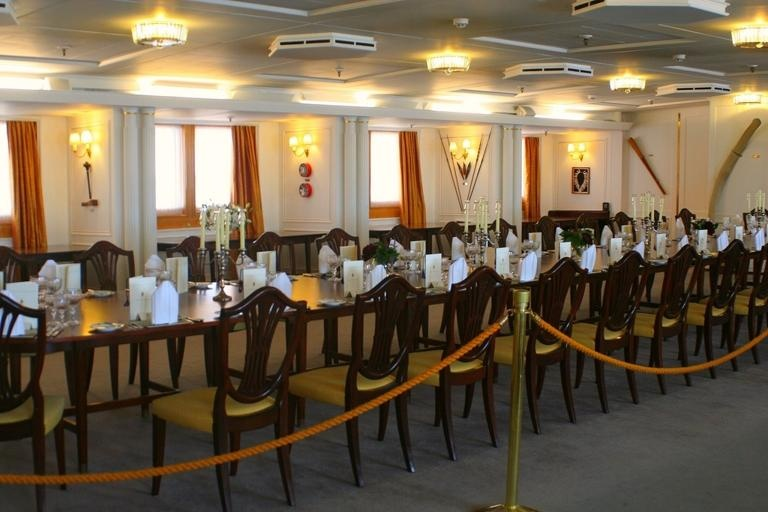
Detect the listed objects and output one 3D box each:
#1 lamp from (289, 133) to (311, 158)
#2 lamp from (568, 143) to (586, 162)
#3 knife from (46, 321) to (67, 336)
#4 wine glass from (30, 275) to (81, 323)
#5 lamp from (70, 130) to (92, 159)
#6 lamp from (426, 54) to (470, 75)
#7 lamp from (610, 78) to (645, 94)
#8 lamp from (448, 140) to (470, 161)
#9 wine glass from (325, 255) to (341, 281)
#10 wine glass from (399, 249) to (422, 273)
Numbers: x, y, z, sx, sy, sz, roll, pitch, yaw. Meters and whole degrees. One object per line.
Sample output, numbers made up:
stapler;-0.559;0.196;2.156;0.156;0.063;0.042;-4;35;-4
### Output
lamp;-1.657;-2.231;11.171;0.470;0.385;0.233;11;25;42
lamp;5.093;-2.738;14.703;0.439;0.489;0.268;-1;7;21
knife;-2.044;0.441;3.476;0.068;0.059;0.242;3;4;-16
wine glass;-2.199;0.312;3.795;0.310;0.135;0.370;-3;9;-32
lamp;-5.179;-1.910;9.547;0.201;0.500;0.738;-10;9;-44
lamp;0.887;-2.688;7.786;0.343;0.137;0.339;-3;9;-20
lamp;4.127;-2.918;9.479;0.437;0.209;0.459;2;9;20
lamp;1.792;-2.493;13.086;0.459;0.421;0.241;6;27;37
wine glass;-0.456;0.096;5.262;0.203;0.274;0.202;1;-1;-5
wine glass;0.251;0.038;5.245;0.212;0.162;0.196;-4;11;-20
